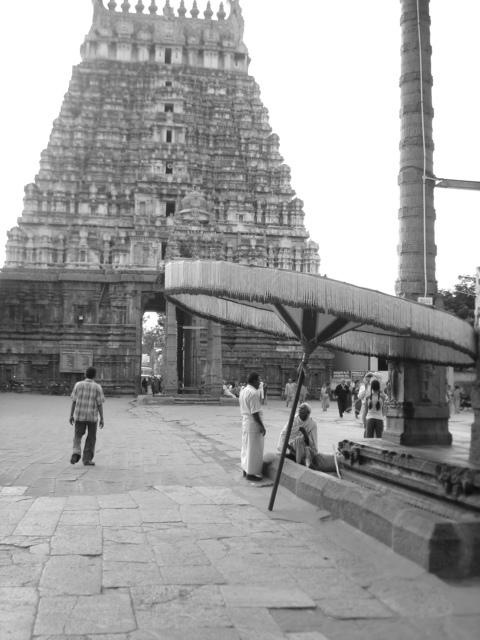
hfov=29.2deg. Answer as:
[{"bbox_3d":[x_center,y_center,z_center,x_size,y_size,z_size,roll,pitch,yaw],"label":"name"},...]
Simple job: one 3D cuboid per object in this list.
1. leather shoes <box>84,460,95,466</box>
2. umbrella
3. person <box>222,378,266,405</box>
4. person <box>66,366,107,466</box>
[{"bbox_3d":[-1.859,1.755,11.389,0.115,0.074,0.061,1,0,-12],"label":"leather shoes"},{"bbox_3d":[1.140,0.575,9.530,3.983,1.937,3.111,-1,0,-20],"label":"umbrella"},{"bbox_3d":[0.118,2.632,34.293,1.308,0.960,1.125,-2,-4,24],"label":"person"},{"bbox_3d":[-2.007,1.232,12.027,0.435,1.175,1.503,-1,0,-10],"label":"person"}]
